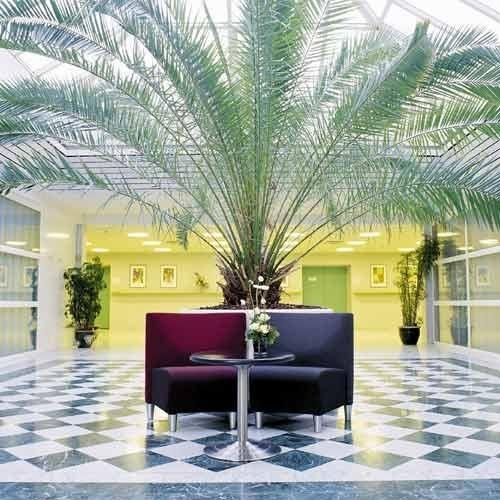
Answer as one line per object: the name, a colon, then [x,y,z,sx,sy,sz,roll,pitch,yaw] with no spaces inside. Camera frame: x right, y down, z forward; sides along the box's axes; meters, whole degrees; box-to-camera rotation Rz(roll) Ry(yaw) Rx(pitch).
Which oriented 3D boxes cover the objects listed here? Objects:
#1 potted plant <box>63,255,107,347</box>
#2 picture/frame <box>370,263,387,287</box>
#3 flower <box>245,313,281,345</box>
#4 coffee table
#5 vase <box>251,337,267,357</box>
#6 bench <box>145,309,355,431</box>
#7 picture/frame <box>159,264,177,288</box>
potted plant: [-4.510,1.400,11.510,1.004,2.393,0.722,0,-6,-11]
picture/frame: [5.239,1.068,17.531,0.952,1.308,0.057,1,-7,-1]
flower: [0.070,0.583,3.328,0.269,0.272,0.272,-1,-9,19]
coffee table: [-0.054,0.965,2.998,0.757,0.719,0.692,0,-9,0]
vase: [0.073,0.735,3.195,0.108,0.120,0.113,6,-13,-19]
bench: [-0.020,1.048,3.867,1.848,0.989,0.878,-1,-10,6]
picture/frame: [-3.191,1.026,16.621,0.914,1.208,0.058,-1,-1,7]
